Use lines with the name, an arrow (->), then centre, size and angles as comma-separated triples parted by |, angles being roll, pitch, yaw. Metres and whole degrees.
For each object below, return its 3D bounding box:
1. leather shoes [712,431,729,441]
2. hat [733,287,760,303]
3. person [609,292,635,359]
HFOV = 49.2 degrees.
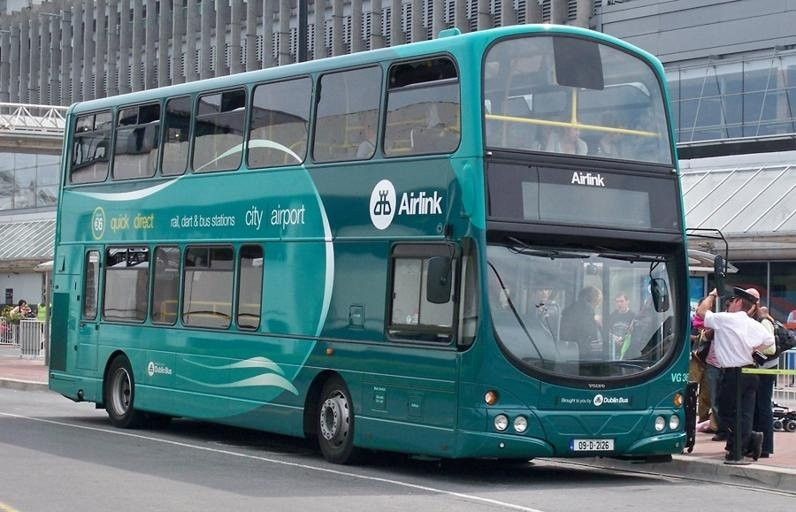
leather shoes -> 5.496, 3.079, 14.850 | 0.099, 0.115, 0.273 | 0, -8, -1
hat -> 5.525, 0.619, 13.800 | 0.323, 0.142, 0.440 | 17, 0, -38
person -> 3.103, 0.972, 12.079 | 0.446, 0.903, 0.103 | 2, -6, -29
